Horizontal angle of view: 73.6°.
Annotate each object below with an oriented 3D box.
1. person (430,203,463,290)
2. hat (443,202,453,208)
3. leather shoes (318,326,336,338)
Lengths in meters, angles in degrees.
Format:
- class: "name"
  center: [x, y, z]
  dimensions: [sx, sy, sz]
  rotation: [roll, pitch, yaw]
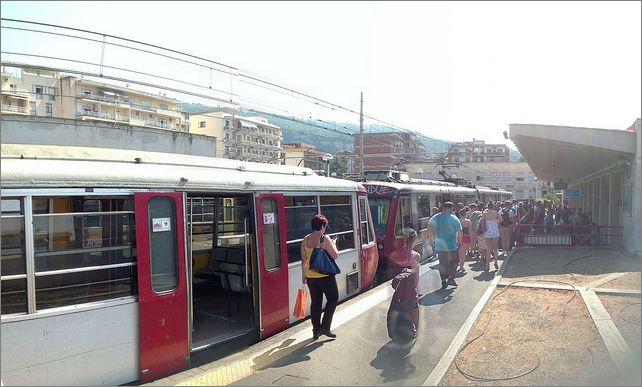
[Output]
- class: "person"
  center: [3.830, 1.646, 13.247]
  dimensions: [1.032, 2.552, 0.725]
  rotation: [0, -3, 10]
- class: "hat"
  center: [3.844, 0.367, 12.998]
  dimensions: [0.171, 0.185, 0.219]
  rotation: [-1, 12, 1]
- class: "leather shoes"
  center: [0.087, 3.195, 9.837]
  dimensions: [0.558, 0.243, 0.176]
  rotation: [15, 3, -32]
